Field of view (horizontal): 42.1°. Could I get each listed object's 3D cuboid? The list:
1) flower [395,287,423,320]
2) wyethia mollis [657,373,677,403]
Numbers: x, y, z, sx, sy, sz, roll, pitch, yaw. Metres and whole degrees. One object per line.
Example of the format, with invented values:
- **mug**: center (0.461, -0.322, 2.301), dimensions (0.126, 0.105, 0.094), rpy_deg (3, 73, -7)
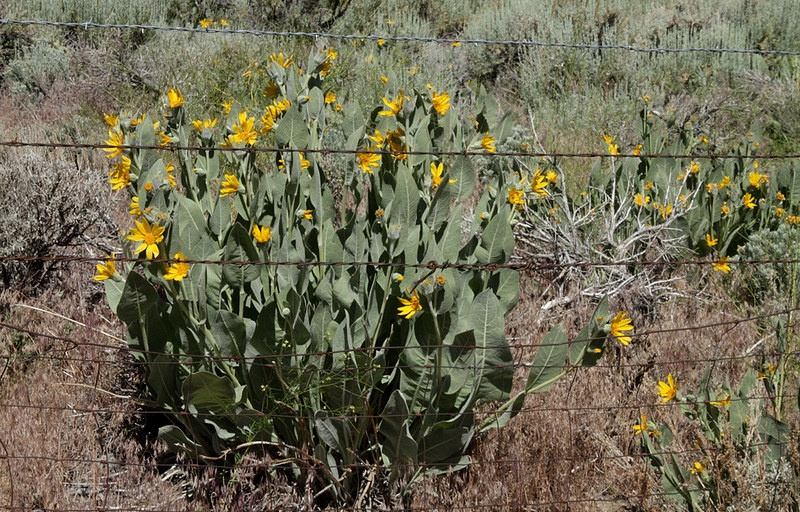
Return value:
- **flower**: center (0.092, 0.381, 7.916), dimensions (0.078, 0.214, 0.209), rpy_deg (15, 28, -53)
- **wyethia mollis**: center (2.132, 1.066, 8.258), dimensions (0.080, 0.197, 0.158), rpy_deg (25, 7, -42)
